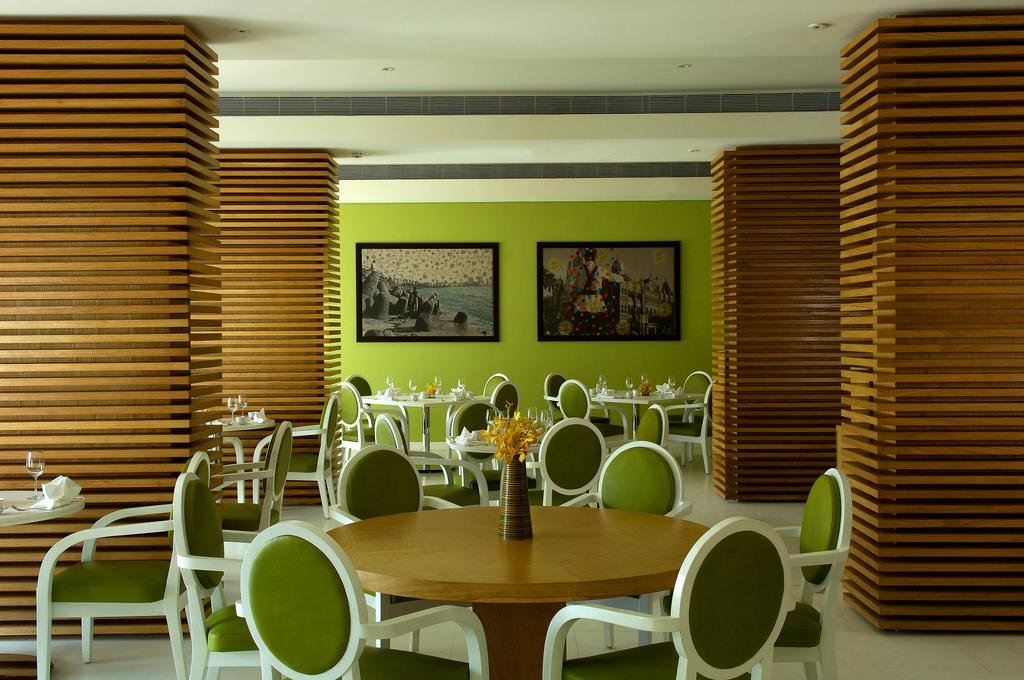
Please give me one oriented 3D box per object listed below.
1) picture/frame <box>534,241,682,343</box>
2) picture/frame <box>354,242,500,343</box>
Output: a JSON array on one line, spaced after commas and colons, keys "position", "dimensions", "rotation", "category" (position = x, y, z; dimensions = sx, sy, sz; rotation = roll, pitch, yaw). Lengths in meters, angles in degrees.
[{"position": [1.522, -0.845, 13.008], "dimensions": [1.952, 1.124, 0.046], "rotation": [0, 2, 2], "category": "picture/frame"}, {"position": [-1.558, -0.809, 13.095], "dimensions": [2.809, 1.682, 0.056], "rotation": [2, 3, 26], "category": "picture/frame"}]
